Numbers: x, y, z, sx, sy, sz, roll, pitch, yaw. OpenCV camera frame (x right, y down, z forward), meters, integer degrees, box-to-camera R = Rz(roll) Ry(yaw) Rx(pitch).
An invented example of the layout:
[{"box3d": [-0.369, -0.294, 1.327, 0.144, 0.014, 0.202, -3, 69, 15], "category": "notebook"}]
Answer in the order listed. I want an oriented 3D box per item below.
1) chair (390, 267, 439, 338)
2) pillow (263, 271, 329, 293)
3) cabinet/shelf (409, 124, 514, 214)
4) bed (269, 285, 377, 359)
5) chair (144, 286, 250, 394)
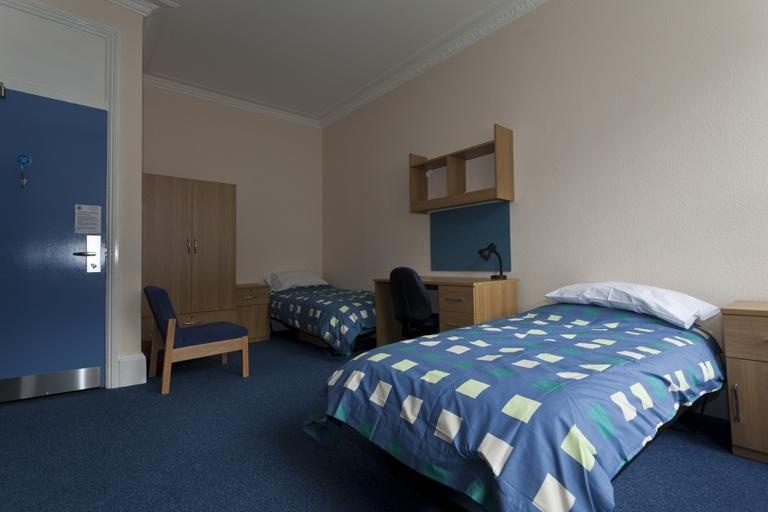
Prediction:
[{"box3d": [0.322, 0.545, 4.657, 0.487, 0.862, 0.532, -1, -1, 9], "category": "chair"}, {"box3d": [-1.196, 0.328, 6.372, 0.557, 0.146, 0.362, -2, 8, -35], "category": "pillow"}, {"box3d": [0.787, -0.847, 4.961, 0.335, 0.680, 1.232, 0, -3, -40], "category": "cabinet/shelf"}, {"box3d": [-0.706, 0.674, 5.276, 0.699, 0.348, 1.085, -2, 1, -33], "category": "bed"}, {"box3d": [-1.820, 0.763, 4.514, 0.879, 0.906, 0.661, 1, 1, -41], "category": "chair"}]
